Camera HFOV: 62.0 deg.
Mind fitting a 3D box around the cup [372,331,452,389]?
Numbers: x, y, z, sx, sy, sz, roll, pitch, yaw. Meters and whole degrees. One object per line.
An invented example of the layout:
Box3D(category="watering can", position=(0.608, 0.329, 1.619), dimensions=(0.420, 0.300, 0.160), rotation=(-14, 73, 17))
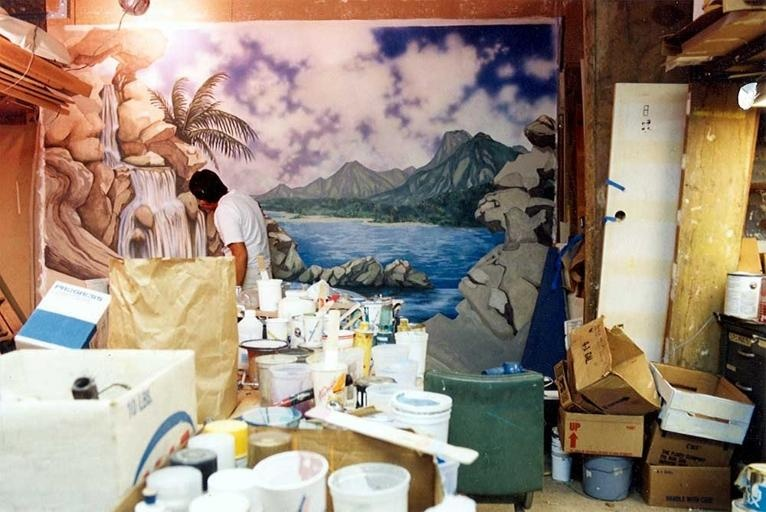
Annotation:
Box3D(category="cup", position=(0.137, 0.529, 3.342), dimensions=(0.344, 0.288, 0.286), rotation=(0, 0, -23))

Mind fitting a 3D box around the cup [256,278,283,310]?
Box3D(category="cup", position=(-0.781, 0.263, 4.424), dimensions=(0.211, 0.211, 0.210), rotation=(0, 1, 0))

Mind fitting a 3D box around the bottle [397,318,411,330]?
Box3D(category="bottle", position=(0.139, 0.425, 3.973), dimensions=(0.077, 0.078, 0.074), rotation=(-3, 9, -23))

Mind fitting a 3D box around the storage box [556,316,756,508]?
Box3D(category="storage box", position=(1.880, 1.076, 4.954), dimensions=(1.325, 1.245, 1.279), rotation=(-2, 4, 2))

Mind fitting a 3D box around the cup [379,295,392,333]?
Box3D(category="cup", position=(0.023, 0.379, 4.125), dimensions=(0.066, 0.219, 0.067), rotation=(5, -19, 2))

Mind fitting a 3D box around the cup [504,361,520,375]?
Box3D(category="cup", position=(0.880, 0.763, 4.331), dimensions=(0.085, 0.062, 0.068), rotation=(3, -33, 1))

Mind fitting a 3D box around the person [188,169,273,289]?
Box3D(category="person", position=(-1.552, -0.292, 6.673), dimensions=(0.585, 1.253, 0.892), rotation=(-3, 3, -35))

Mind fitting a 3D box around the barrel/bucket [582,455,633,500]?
Box3D(category="barrel/bucket", position=(1.560, 1.543, 4.465), dimensions=(0.312, 0.285, 0.312), rotation=(2, -10, 0))

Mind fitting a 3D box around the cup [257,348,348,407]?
Box3D(category="cup", position=(-0.380, 0.581, 3.063), dimensions=(0.403, 0.169, 0.259), rotation=(-2, 3, 0))

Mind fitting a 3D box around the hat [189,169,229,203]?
Box3D(category="hat", position=(-1.934, -0.779, 6.932), dimensions=(0.416, 0.334, 0.334), rotation=(-13, -18, 43))
